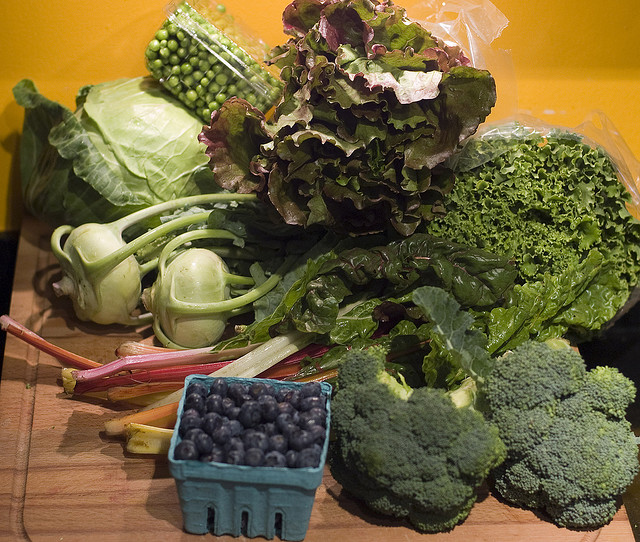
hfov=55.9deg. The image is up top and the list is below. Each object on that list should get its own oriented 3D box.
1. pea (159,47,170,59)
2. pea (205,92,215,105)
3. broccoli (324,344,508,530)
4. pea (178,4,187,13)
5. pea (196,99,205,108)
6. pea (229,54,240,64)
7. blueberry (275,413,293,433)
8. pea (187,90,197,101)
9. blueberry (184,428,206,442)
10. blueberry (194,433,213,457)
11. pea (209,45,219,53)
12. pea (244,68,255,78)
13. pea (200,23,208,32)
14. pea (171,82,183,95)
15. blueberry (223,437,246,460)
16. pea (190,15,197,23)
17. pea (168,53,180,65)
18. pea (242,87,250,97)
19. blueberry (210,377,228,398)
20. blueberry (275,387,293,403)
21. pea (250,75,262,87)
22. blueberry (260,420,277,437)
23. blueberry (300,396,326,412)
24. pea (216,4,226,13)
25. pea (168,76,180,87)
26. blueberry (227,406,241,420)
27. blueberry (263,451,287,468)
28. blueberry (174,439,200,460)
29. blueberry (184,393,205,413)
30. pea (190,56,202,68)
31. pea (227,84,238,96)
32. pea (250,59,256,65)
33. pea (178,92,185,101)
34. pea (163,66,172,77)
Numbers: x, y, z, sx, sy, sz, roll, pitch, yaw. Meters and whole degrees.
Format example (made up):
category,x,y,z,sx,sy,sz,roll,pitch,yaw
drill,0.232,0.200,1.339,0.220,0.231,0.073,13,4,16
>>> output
category,x,y,z,sx,sy,sz,roll,pitch,yaw
pea,-0.558,-0.786,2.182,0.036,0.037,0.036,32,36,24
pea,-0.408,-0.656,2.270,0.039,0.036,0.034,0,17,0
broccoli,0.301,0.377,1.700,0.599,0.500,0.276,-7,1,44
pea,-0.497,-0.962,2.219,0.040,0.029,0.034,-1,29,-9
pea,-0.450,-0.632,2.281,0.029,0.029,0.024,3,56,-7
pea,-0.308,-0.772,2.202,0.033,0.021,0.029,15,48,15
blueberry,-0.096,0.390,1.556,0.051,0.051,0.045,2,-26,-7
pea,-0.476,-0.655,2.255,0.040,0.031,0.035,8,-2,-9
blueberry,-0.318,0.412,1.516,0.033,0.015,0.032,-1,0,26
blueberry,-0.287,0.433,1.506,0.061,0.056,0.053,0,-16,4
pea,-0.381,-0.802,2.187,0.028,0.023,0.027,4,9,26
pea,-0.258,-0.726,2.216,0.041,0.032,0.045,9,2,-15
pea,-0.419,-0.890,2.198,0.028,0.023,0.029,14,17,-27
pea,-0.534,-0.684,2.265,0.032,0.040,0.023,42,-4,-17
blueberry,-0.209,0.445,1.530,0.044,0.048,0.043,31,58,24
pea,-0.457,-0.919,2.200,0.034,0.027,0.016,-4,-24,-8
pea,-0.529,-0.773,2.208,0.041,0.033,0.038,4,11,-3
pea,-0.275,-0.672,2.268,0.024,0.022,0.021,1,5,-18
blueberry,-0.267,0.314,1.624,0.045,0.048,0.040,9,-10,-14
blueberry,-0.100,0.335,1.632,0.041,0.038,0.037,-1,8,8
pea,-0.231,-0.698,2.221,0.049,0.031,0.032,8,33,11
blueberry,-0.129,0.407,1.561,0.039,0.031,0.020,1,19,16
blueberry,-0.018,0.351,1.597,0.055,0.024,0.037,-5,-5,-13
pea,-0.378,-1.010,2.326,0.038,0.020,0.040,-2,26,-17
pea,-0.537,-0.703,2.241,0.039,0.033,0.045,-20,-2,-18
blueberry,-0.225,0.373,1.579,0.033,0.024,0.029,0,-26,-9
blueberry,-0.108,0.472,1.503,0.054,0.022,0.040,8,20,-39
blueberry,-0.327,0.440,1.490,0.055,0.042,0.046,-5,-9,-10
blueberry,-0.328,0.347,1.588,0.050,0.049,0.050,8,9,37
pea,-0.455,-0.765,2.213,0.034,0.032,0.032,5,6,24
pea,-0.321,-0.677,2.268,0.040,0.041,0.037,22,44,18
pea,-0.248,-0.775,2.242,0.022,0.011,0.019,-2,-15,-6
pea,-0.520,-0.658,2.280,0.025,0.024,0.024,6,2,25
pea,-0.561,-0.737,2.232,0.033,0.031,0.029,6,18,7
